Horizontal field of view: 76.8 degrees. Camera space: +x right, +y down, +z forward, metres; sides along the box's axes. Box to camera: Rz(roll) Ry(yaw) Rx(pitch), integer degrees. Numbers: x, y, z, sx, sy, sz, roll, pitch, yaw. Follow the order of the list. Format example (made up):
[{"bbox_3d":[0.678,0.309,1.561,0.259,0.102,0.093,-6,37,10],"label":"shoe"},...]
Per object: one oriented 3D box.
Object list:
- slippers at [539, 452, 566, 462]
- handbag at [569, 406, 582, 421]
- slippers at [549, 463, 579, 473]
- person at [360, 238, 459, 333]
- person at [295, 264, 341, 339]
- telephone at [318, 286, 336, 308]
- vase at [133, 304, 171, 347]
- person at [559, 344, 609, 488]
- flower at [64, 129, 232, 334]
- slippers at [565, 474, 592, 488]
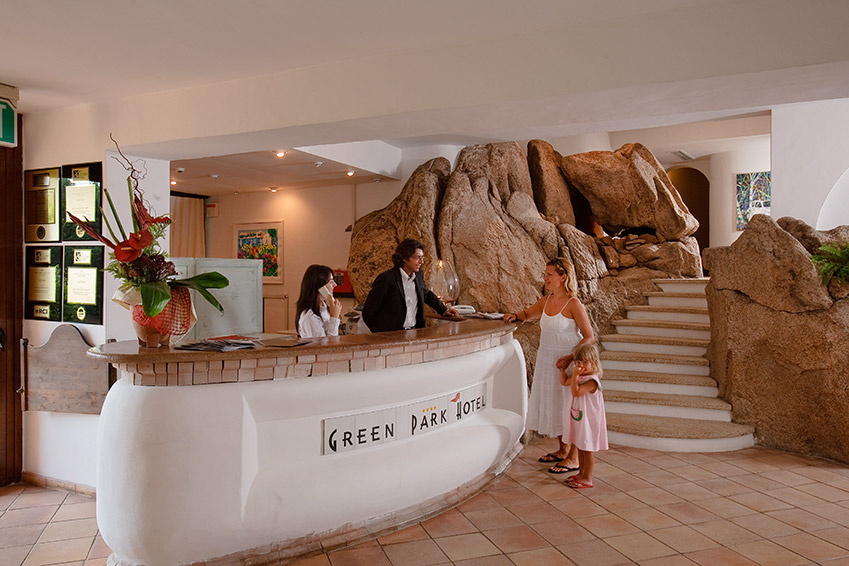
[{"bbox_3d":[1.344,1.822,5.633,0.207,0.052,0.106,2,-2,-2],"label":"slippers"},{"bbox_3d":[1.415,1.199,4.972,0.115,0.050,0.115,1,0,35],"label":"handbag"},{"bbox_3d":[1.392,1.841,5.364,0.217,0.048,0.107,3,-4,-9],"label":"slippers"},{"bbox_3d":[-0.171,0.287,5.581,0.934,1.403,0.586,3,7,-20],"label":"person"},{"bbox_3d":[-1.080,0.165,5.264,0.360,0.704,0.576,2,9,7],"label":"person"},{"bbox_3d":[-0.981,0.124,5.325,0.067,0.179,0.274,6,-28,15],"label":"telephone"},{"bbox_3d":[-2.023,0.309,3.947,0.311,0.311,0.287,0,-1,-8],"label":"vase"},{"bbox_3d":[1.529,1.237,5.092,0.374,1.359,0.396,0,9,-2],"label":"person"},{"bbox_3d":[-2.022,-0.320,4.041,0.927,1.381,1.066,-9,-2,37],"label":"flower"},{"bbox_3d":[1.471,1.879,5.091,0.171,0.038,0.122,3,-4,-19],"label":"slippers"}]
